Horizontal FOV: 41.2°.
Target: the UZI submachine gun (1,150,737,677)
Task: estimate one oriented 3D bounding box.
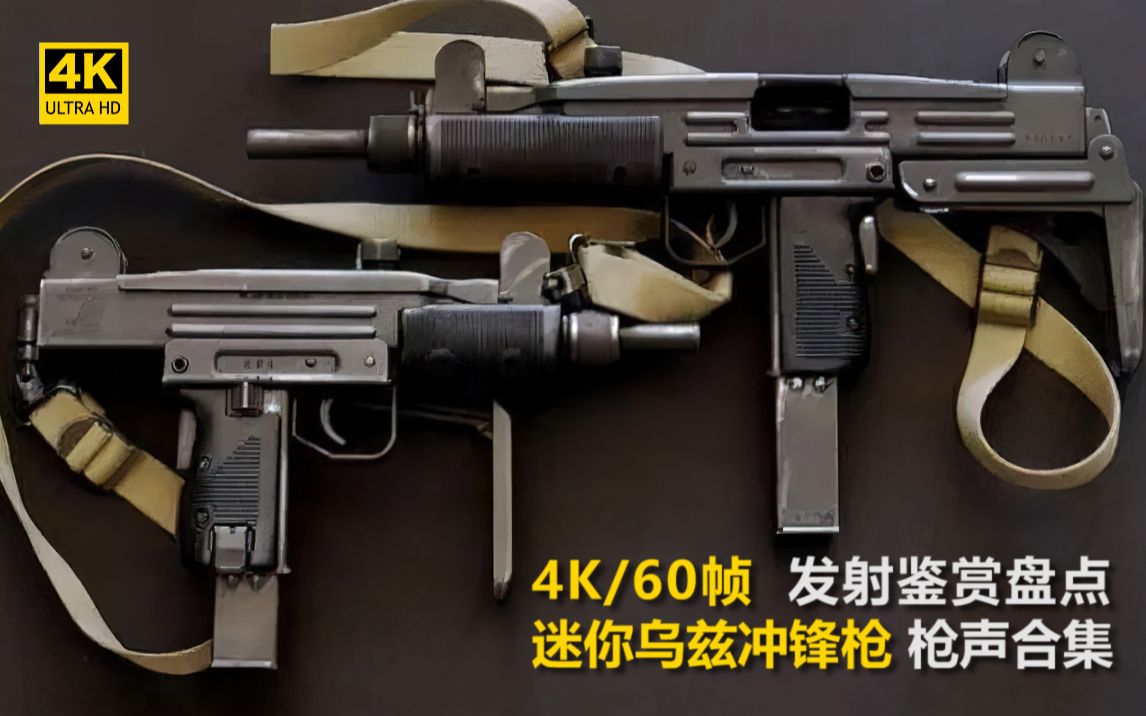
[{"bbox_3d":[-0.551,0.150,3.327,1.506,0.318,1.085,5,73,-1],"label":"UZI submachine gun"}]
